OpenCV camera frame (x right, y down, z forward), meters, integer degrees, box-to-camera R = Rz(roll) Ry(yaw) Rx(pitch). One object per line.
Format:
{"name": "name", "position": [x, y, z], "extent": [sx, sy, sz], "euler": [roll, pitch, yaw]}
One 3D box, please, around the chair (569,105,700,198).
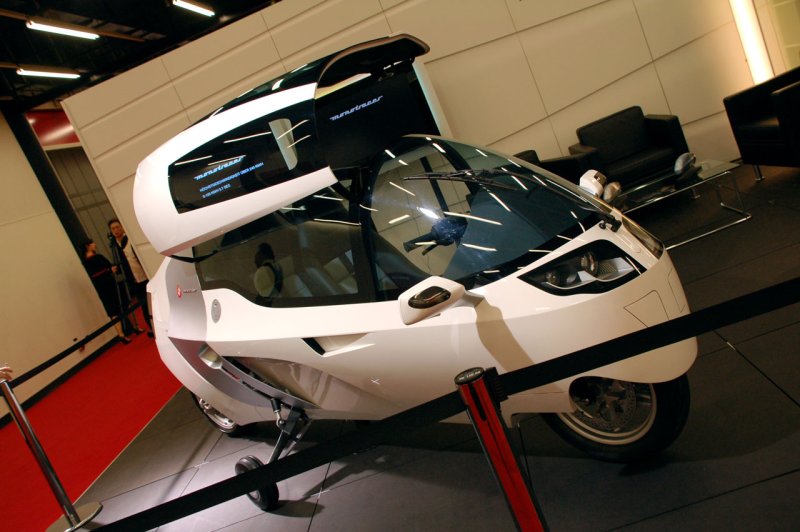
{"name": "chair", "position": [2.865, -1.443, 7.202], "extent": [1.267, 0.934, 0.950], "euler": [-23, 16, 1]}

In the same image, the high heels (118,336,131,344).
{"name": "high heels", "position": [-4.596, 1.223, 9.466], "extent": [0.127, 0.102, 0.316], "euler": [13, 0, -39]}
